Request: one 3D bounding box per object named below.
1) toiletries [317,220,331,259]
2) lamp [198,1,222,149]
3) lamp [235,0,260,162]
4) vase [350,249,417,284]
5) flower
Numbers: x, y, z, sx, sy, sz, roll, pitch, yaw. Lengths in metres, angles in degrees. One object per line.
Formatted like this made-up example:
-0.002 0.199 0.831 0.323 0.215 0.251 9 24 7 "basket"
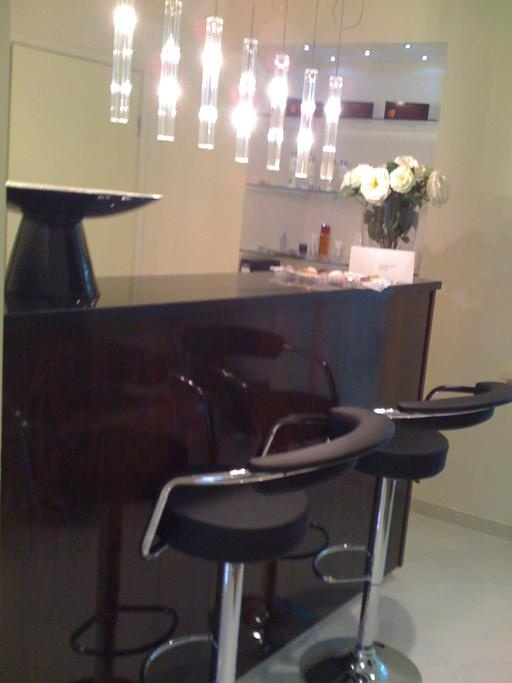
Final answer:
0.516 -0.763 4.288 0.091 0.268 0.300 3 6 5 "toiletries"
-0.166 -0.964 2.089 0.070 0.509 0.288 2 6 -5 "lamp"
-0.039 -0.909 2.176 0.076 0.419 0.299 2 6 -2 "lamp"
0.452 -0.278 2.059 0.232 0.133 0.196 6 7 17 "vase"
0.507 -0.517 2.128 0.379 0.344 0.230 5 6 9 "flower"
